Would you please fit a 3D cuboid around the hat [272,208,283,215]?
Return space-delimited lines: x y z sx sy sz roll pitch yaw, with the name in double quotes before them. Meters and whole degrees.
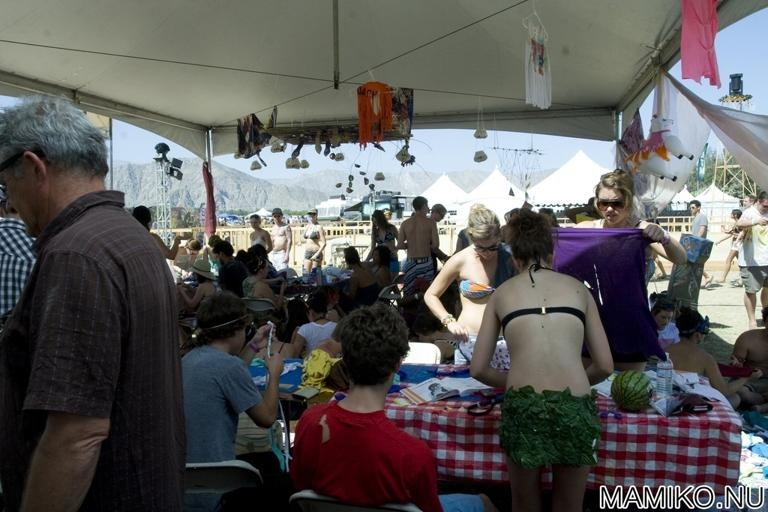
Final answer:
"hat" -2.027 -0.869 11.096 0.170 0.143 0.254 3 -6 -2

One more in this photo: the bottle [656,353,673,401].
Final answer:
"bottle" 1.865 0.822 3.908 0.111 0.109 0.405 -3 35 28

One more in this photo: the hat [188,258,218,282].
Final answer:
"hat" -2.278 0.131 7.303 0.287 0.109 0.246 35 11 30

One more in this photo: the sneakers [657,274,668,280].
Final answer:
"sneakers" 5.116 0.383 10.819 0.151 0.078 0.229 -6 -1 9

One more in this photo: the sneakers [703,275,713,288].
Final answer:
"sneakers" 7.021 0.553 12.773 0.100 0.274 0.097 15 24 18
